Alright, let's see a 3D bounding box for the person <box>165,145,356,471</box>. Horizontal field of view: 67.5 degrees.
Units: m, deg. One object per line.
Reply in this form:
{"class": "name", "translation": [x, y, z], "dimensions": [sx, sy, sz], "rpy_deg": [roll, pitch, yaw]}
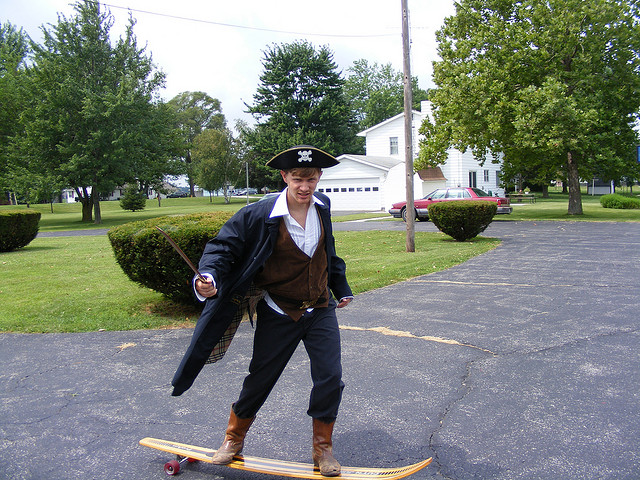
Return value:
{"class": "person", "translation": [-0.370, 0.579, 3.938], "dimensions": [1.351, 2.652, 0.870], "rpy_deg": [-2, 9, -2]}

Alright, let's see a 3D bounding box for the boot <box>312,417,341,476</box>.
{"class": "boot", "translation": [0.048, 1.659, 3.910], "dimensions": [0.198, 0.414, 0.265], "rpy_deg": [-3, 9, -7]}

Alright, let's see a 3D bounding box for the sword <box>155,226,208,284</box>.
{"class": "sword", "translation": [-1.925, 0.175, 6.675], "dimensions": [0.170, 1.322, 0.121], "rpy_deg": [-40, 48, -8]}
